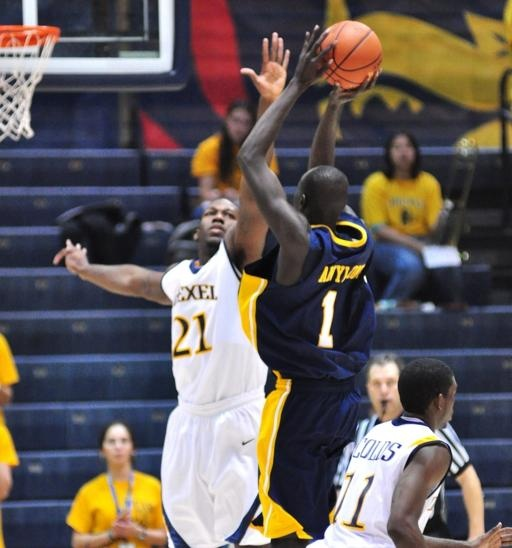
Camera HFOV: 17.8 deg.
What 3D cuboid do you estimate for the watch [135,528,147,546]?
[{"bbox_3d":[-0.624,1.435,8.876,0.062,0.084,0.023,5,-10,-21],"label":"watch"}]
